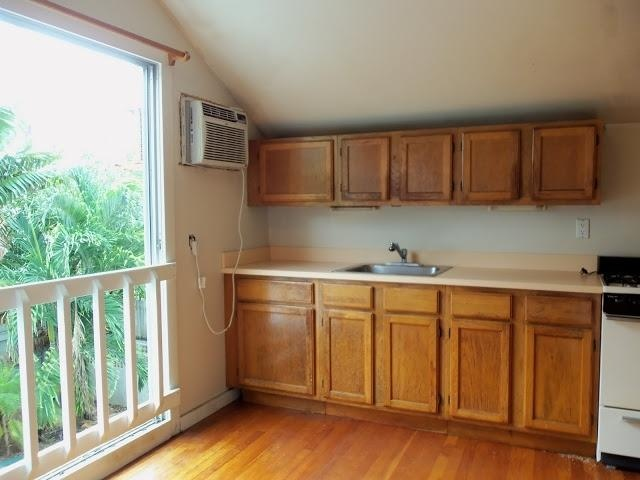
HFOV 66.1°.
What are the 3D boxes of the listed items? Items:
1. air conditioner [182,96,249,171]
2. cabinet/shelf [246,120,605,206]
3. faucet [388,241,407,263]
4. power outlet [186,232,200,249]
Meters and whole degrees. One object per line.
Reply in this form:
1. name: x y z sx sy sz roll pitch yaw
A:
1. air conditioner: -0.761 -0.761 3.645 0.190 0.489 0.618 4 5 28
2. cabinet/shelf: 0.690 -0.533 3.629 2.442 0.574 0.252 1 9 14
3. faucet: 0.620 0.104 3.928 0.156 0.167 0.223 0 9 7
4. power outlet: -0.905 0.006 3.589 0.079 0.153 0.115 -2 -3 24
